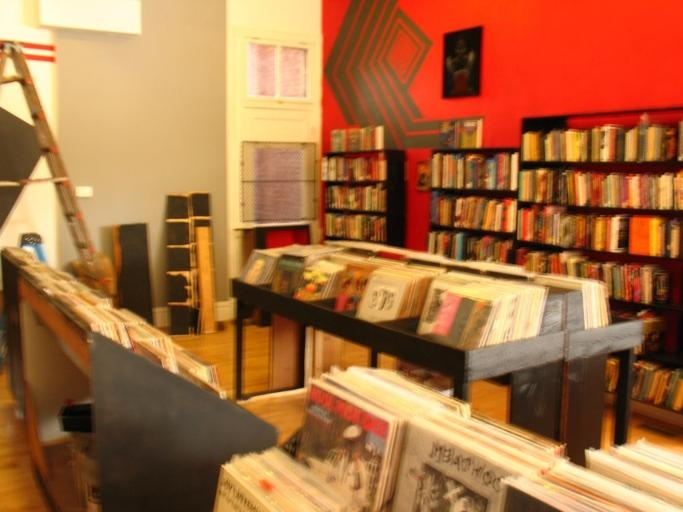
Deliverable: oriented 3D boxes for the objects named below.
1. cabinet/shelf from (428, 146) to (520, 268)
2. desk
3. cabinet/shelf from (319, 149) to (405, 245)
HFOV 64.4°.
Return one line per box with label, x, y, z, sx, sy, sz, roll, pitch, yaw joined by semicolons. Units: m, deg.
cabinet/shelf;1.347;-0.508;5.351;0.409;1.393;1.207;-2;5;-37
desk;0.317;0.566;2.801;2.061;0.607;0.930;4;7;31
cabinet/shelf;0.298;-0.741;6.720;0.452;1.550;1.344;-3;4;-37
